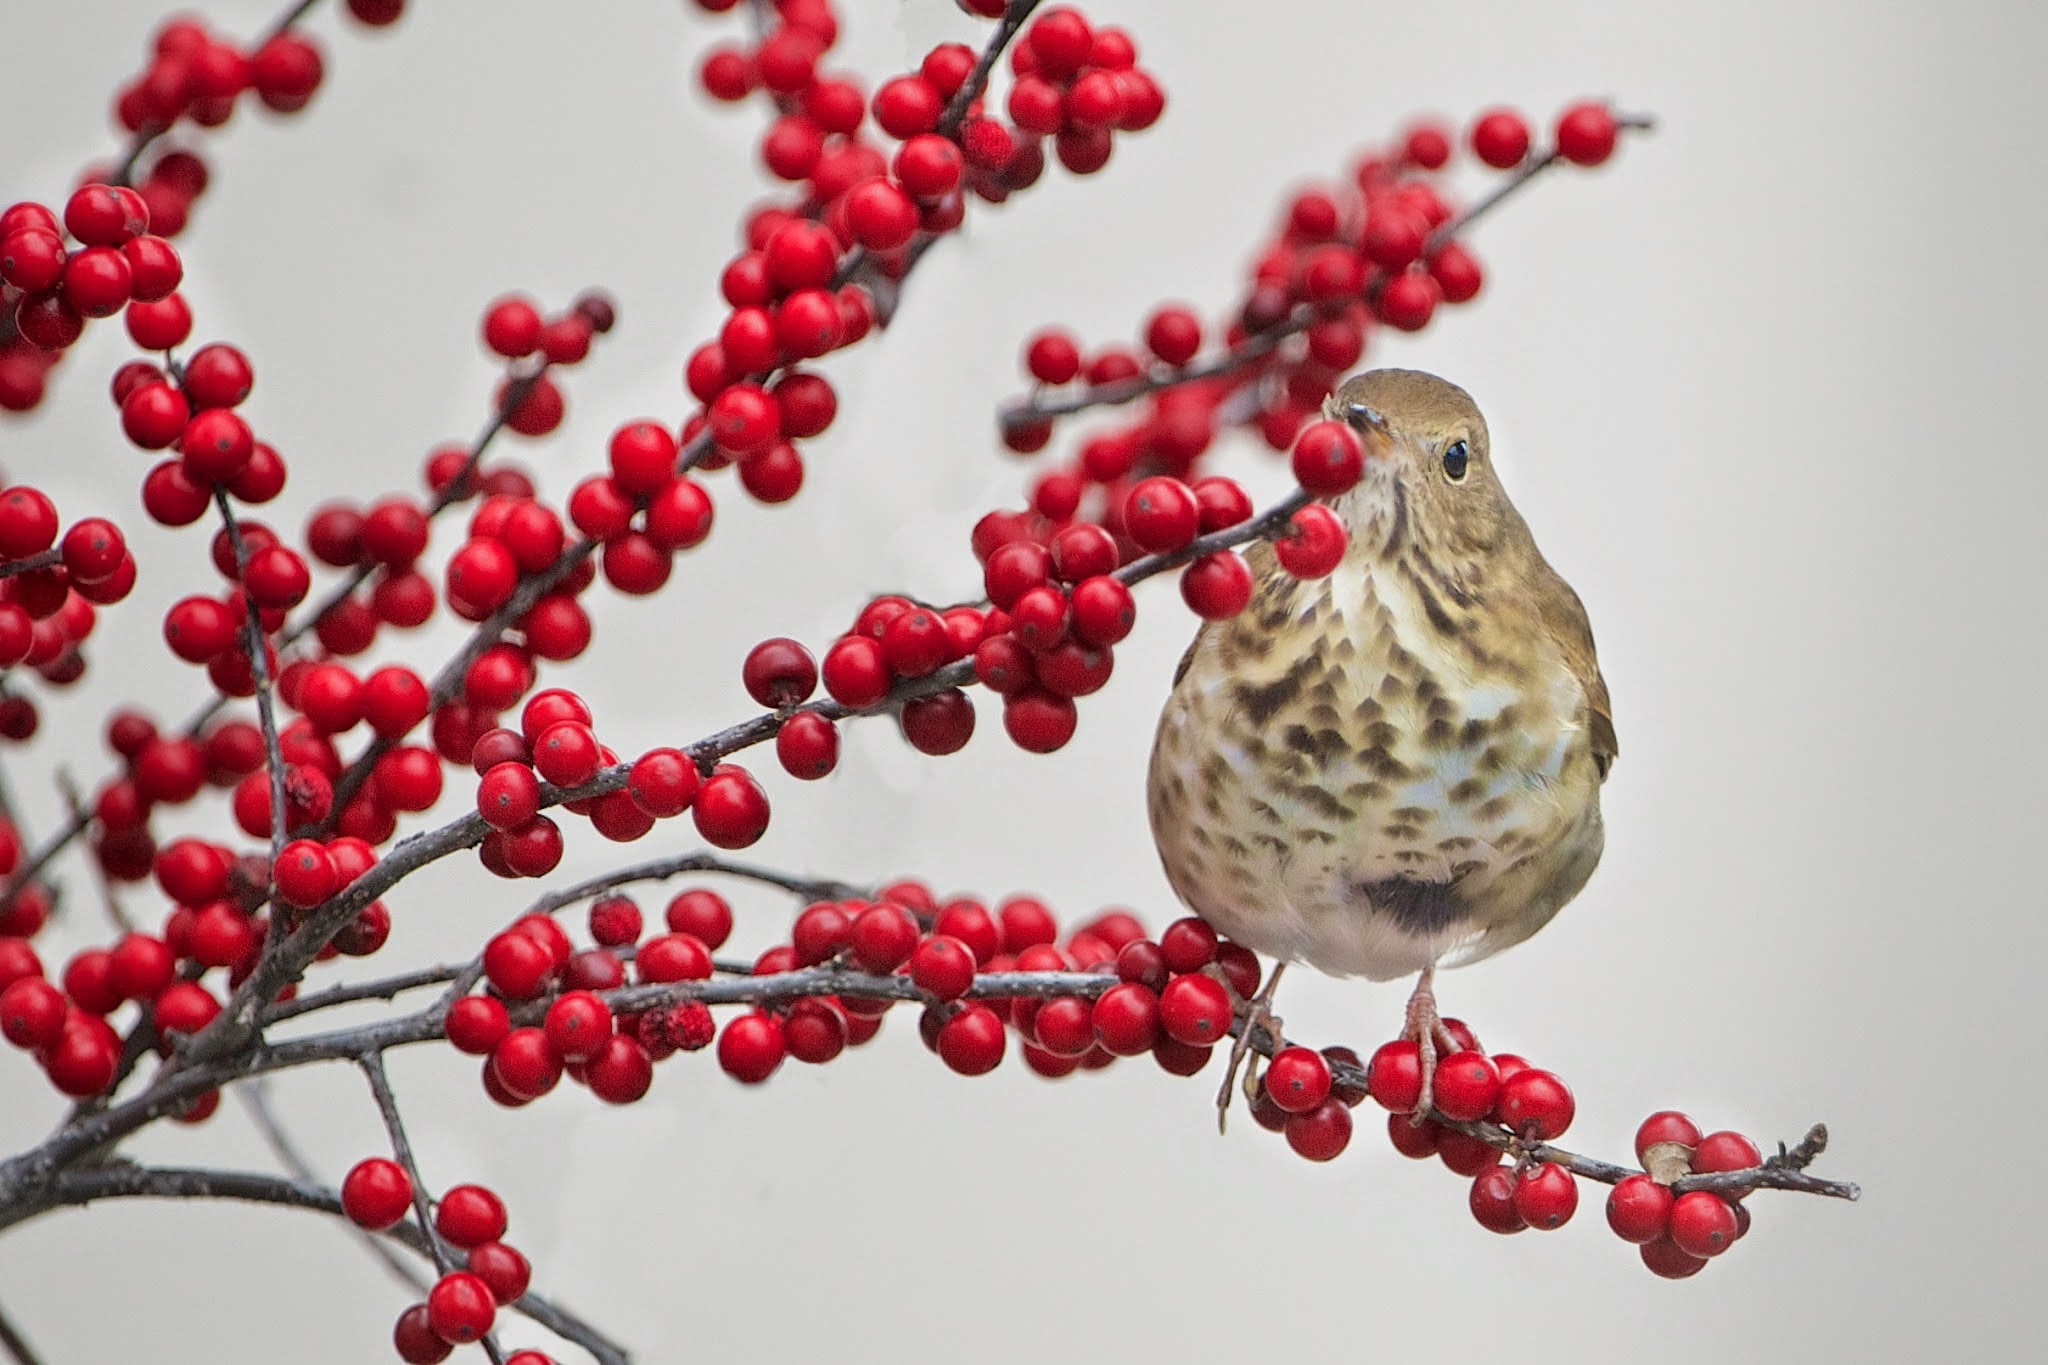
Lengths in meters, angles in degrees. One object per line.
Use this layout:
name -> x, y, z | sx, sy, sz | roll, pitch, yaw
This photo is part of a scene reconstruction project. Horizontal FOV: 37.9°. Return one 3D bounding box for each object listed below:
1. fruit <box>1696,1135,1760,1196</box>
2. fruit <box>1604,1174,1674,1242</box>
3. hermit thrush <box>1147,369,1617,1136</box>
fruit -> 0.428, 0.296, 1.836 | 0.031, 0.036, 0.039 | 0, -22, -12
fruit -> 0.374, 0.318, 1.813 | 0.033, 0.046, 0.037 | 0, -4, 8
hermit thrush -> 0.242, 0.023, 2.003 | 0.245, 0.488, 0.426 | 5, 6, 13
